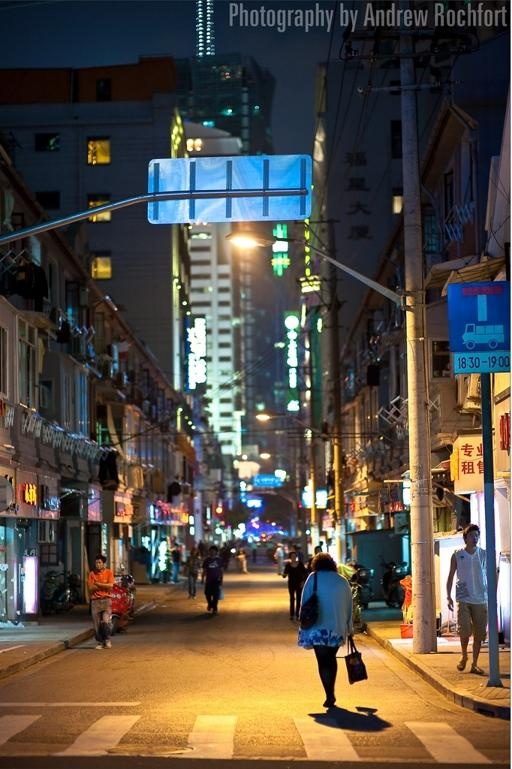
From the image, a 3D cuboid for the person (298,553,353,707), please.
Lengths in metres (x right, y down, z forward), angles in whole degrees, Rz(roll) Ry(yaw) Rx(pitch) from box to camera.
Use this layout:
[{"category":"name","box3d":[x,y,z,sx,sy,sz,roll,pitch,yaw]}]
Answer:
[{"category":"person","box3d":[0.766,2.618,12.010,0.574,1.638,0.664,-3,-9,5]}]

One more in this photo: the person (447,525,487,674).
[{"category":"person","box3d":[2.695,2.678,14.062,0.521,1.819,0.612,-6,-9,21]}]

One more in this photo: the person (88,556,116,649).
[{"category":"person","box3d":[-2.858,3.914,20.259,0.428,1.636,0.982,-1,-9,-9]}]

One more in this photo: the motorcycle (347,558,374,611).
[{"category":"motorcycle","box3d":[2.692,5.160,29.212,0.938,1.333,1.929,0,-2,-1]}]
